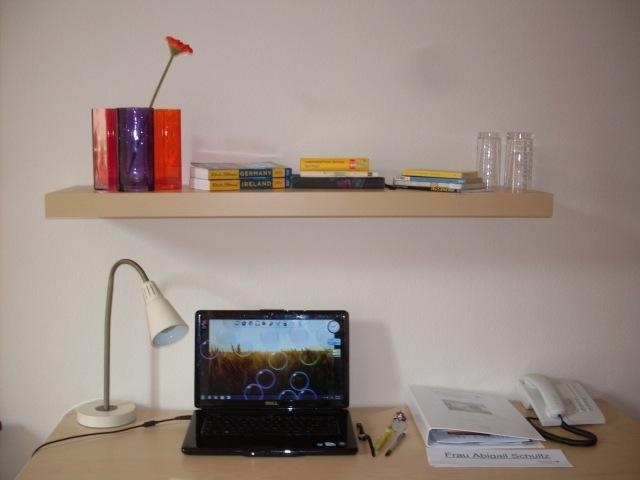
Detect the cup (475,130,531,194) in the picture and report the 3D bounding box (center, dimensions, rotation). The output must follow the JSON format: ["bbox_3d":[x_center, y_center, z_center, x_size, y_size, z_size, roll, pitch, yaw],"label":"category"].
[{"bbox_3d":[0.575,-0.264,1.782,0.251,0.262,0.143,1,5,13],"label":"cup"}]

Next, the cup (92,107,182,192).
[{"bbox_3d":[-0.580,-0.279,1.668,0.262,0.274,0.271,0,2,0],"label":"cup"}]

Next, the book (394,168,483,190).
[{"bbox_3d":[0.400,-0.194,1.716,0.312,0.075,0.129,0,2,9],"label":"book"}]

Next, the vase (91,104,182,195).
[{"bbox_3d":[-0.588,-0.285,1.664,0.271,0.270,0.115,-1,3,-19],"label":"vase"}]

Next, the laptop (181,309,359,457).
[{"bbox_3d":[-0.167,0.394,1.878,0.553,0.386,0.428,1,0,-2],"label":"laptop"}]

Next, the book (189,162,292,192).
[{"bbox_3d":[-0.263,-0.201,1.707,0.333,0.094,0.127,-1,2,-8],"label":"book"}]

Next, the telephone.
[{"bbox_3d":[0.878,0.568,1.888,0.293,0.090,0.303,3,10,30],"label":"telephone"}]
